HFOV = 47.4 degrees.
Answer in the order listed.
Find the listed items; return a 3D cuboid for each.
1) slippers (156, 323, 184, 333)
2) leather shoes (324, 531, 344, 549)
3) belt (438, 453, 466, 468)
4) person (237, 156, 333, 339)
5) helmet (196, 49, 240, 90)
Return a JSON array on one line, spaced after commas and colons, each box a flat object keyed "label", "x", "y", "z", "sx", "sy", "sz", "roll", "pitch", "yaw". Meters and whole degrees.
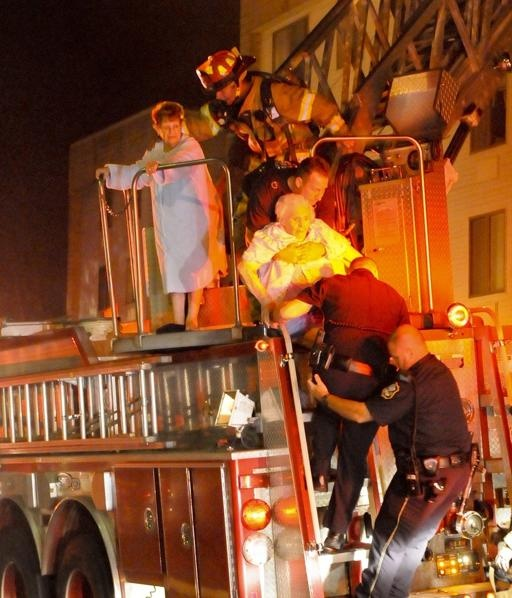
[{"label": "slippers", "x": -0.453, "y": 0.164, "z": 3.161, "sx": 0.077, "sy": 0.036, "sz": 0.091, "roll": -3, "pitch": 1, "yaw": -24}, {"label": "leather shoes", "x": 0.340, "y": 1.040, "z": 2.530, "sx": 0.045, "sy": 0.078, "sz": 0.122, "roll": -5, "pitch": -6, "yaw": 33}, {"label": "belt", "x": 0.846, "y": 0.695, "z": 2.494, "sx": 0.063, "sy": 0.029, "sz": 0.082, "roll": -2, "pitch": -6, "yaw": 3}, {"label": "person", "x": 0.159, "y": -0.397, "z": 3.823, "sx": 0.379, "sy": 0.997, "sz": 0.828, "roll": 9, "pitch": 10, "yaw": 44}, {"label": "helmet", "x": -0.282, "y": -1.739, "z": 4.434, "sx": 0.336, "sy": 0.288, "sz": 0.257, "roll": -6, "pitch": -11, "yaw": 8}]
